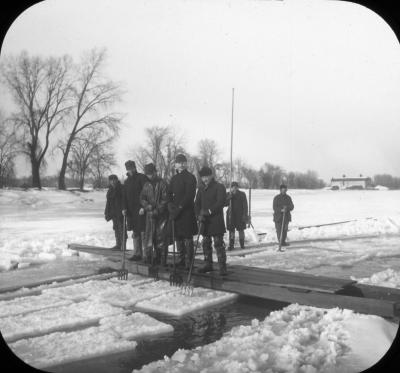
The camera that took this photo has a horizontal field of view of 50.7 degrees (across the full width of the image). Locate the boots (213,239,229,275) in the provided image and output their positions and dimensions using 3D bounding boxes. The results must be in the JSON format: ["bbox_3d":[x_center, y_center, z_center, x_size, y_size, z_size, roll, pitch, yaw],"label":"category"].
[{"bbox_3d":[0.344,1.137,7.111,0.231,0.679,0.378,0,1,3],"label":"boots"}]

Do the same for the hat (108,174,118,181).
[{"bbox_3d":[-2.095,-0.228,10.194,0.265,0.153,0.310,1,1,10],"label":"hat"}]

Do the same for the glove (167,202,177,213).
[{"bbox_3d":[-0.508,0.366,7.500,0.113,0.169,0.153,4,-10,-24],"label":"glove"}]

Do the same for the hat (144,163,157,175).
[{"bbox_3d":[-0.920,-0.342,7.883,0.191,0.204,0.187,-13,12,-43],"label":"hat"}]

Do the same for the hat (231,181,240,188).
[{"bbox_3d":[1.083,-0.073,12.982,0.240,0.267,0.408,1,2,8],"label":"hat"}]

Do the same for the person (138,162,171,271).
[{"bbox_3d":[-0.796,0.528,7.815,0.511,1.925,0.665,0,1,-30],"label":"person"}]

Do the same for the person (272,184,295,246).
[{"bbox_3d":[2.474,0.853,12.384,0.516,1.963,0.529,1,16,13],"label":"person"}]
